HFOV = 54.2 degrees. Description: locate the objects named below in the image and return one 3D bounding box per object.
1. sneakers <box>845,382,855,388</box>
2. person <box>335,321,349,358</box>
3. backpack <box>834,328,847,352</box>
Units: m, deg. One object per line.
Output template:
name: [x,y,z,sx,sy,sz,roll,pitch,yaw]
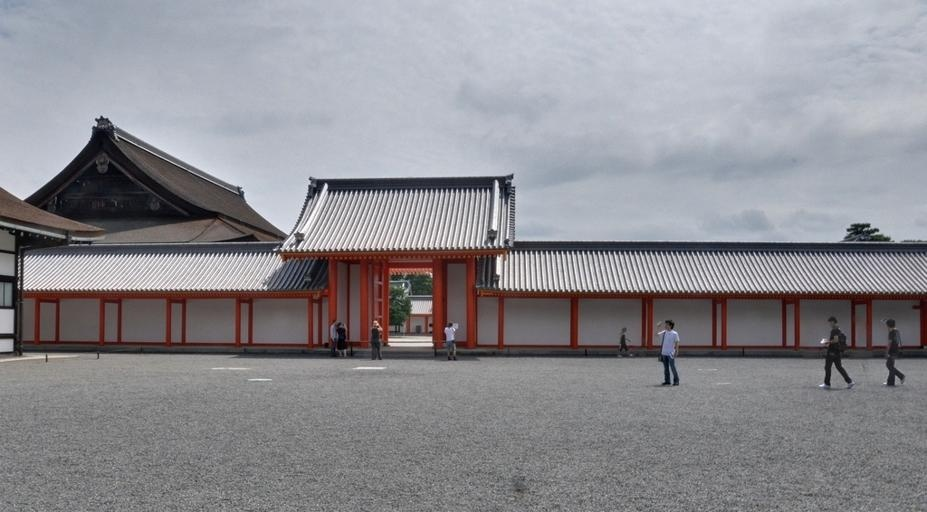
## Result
sneakers: [14.740,4.961,34.688,0.205,0.196,0.505,-17,3,-7]
person: [-6.035,4.201,45.067,0.526,1.640,1.251,-2,7,-13]
backpack: [14.383,3.246,34.600,0.264,0.913,0.646,4,8,31]
